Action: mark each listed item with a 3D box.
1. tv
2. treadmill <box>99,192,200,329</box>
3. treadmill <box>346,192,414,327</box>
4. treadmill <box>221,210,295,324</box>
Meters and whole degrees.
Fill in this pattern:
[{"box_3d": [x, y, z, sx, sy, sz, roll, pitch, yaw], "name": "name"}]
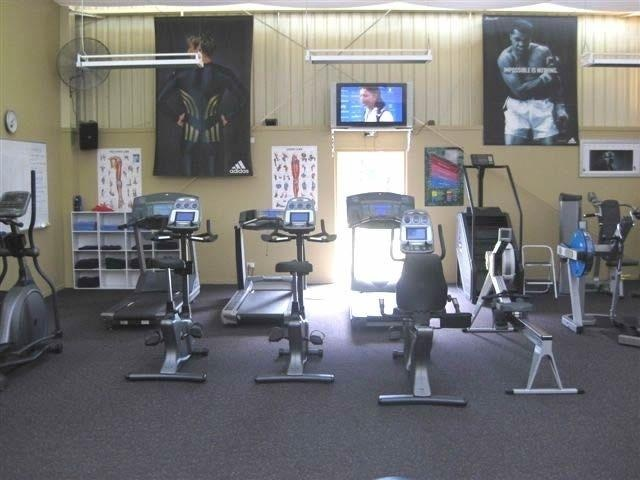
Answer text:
[{"box_3d": [0.894, -2.162, 10.337, 1.209, 0.706, 0.319, 1, 7, -15], "name": "tv"}, {"box_3d": [-2.492, 0.251, 9.436, 1.172, 2.221, 2.227, 0, 0, 0], "name": "treadmill"}, {"box_3d": [0.765, 0.129, 9.047, 0.694, 1.994, 0.722, 0, 6, -8], "name": "treadmill"}, {"box_3d": [-0.959, 0.411, 9.444, 0.803, 1.394, 1.701, -1, 4, -1], "name": "treadmill"}]
